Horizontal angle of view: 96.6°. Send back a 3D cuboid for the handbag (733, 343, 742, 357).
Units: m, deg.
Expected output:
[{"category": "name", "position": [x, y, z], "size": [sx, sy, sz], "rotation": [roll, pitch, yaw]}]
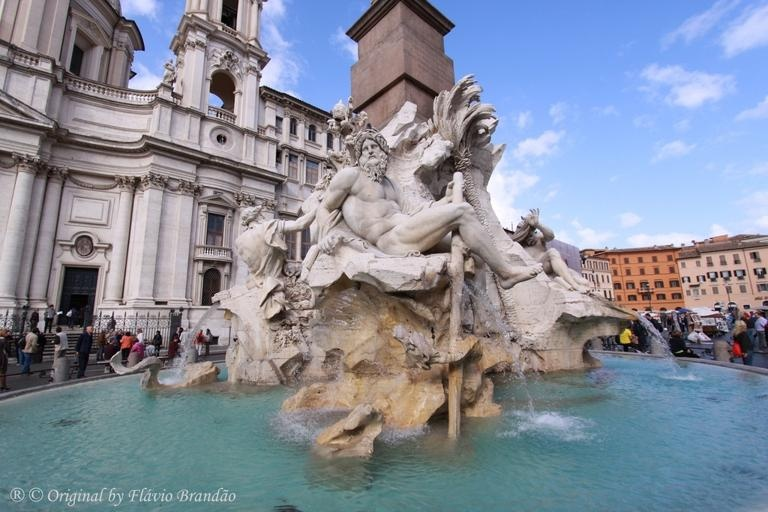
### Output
[{"category": "handbag", "position": [9.859, 2.634, 9.605], "size": [0.180, 0.392, 0.548], "rotation": [-3, -3, 45]}]
